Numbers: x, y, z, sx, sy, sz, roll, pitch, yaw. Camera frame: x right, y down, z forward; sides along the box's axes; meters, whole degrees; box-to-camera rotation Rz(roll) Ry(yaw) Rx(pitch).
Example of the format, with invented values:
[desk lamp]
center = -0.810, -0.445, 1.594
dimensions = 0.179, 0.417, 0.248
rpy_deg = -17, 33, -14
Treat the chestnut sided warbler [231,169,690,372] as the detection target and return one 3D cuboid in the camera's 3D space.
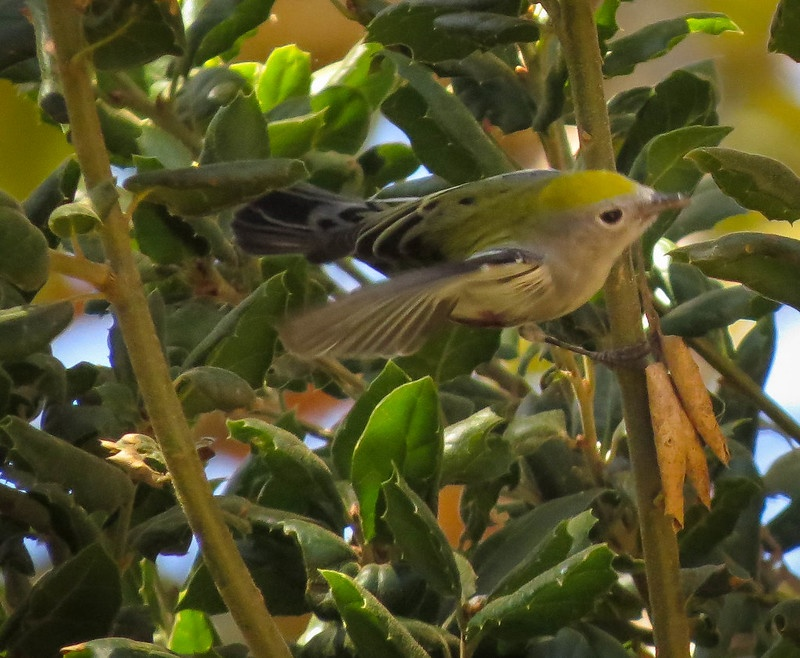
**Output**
[chestnut sided warbler]
center = 0.008, -0.060, 1.130
dimensions = 0.203, 0.201, 0.083
rpy_deg = 27, -54, 21
